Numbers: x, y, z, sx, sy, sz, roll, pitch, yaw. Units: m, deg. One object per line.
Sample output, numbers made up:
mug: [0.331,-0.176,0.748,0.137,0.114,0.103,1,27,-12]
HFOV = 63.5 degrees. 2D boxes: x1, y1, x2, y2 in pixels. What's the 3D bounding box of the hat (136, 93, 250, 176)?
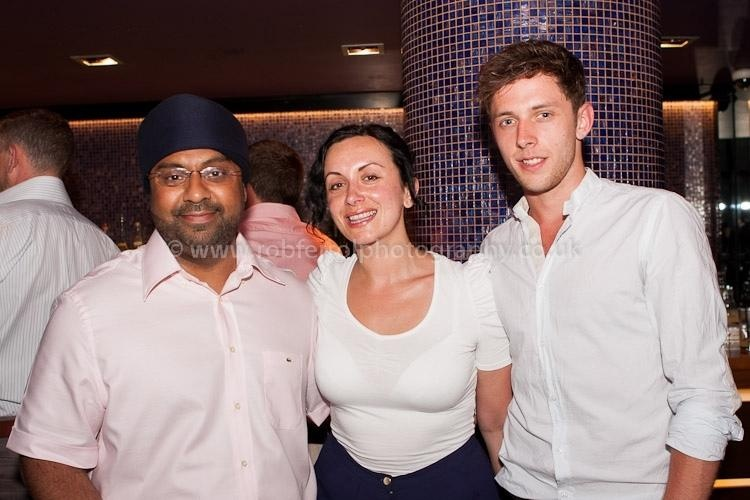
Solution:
hat: [-0.744,-0.426,2.381,0.368,0.173,0.313,-13,-5,3]
